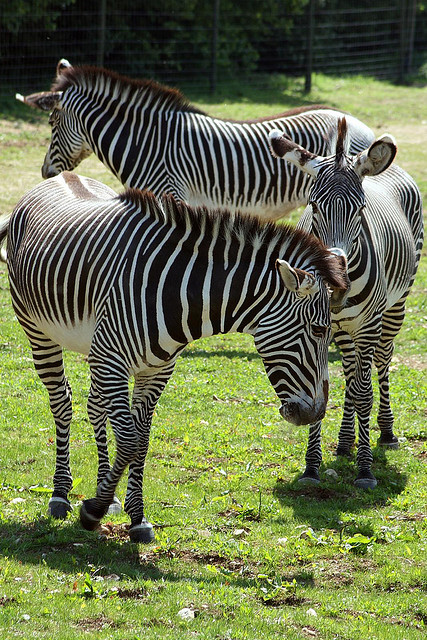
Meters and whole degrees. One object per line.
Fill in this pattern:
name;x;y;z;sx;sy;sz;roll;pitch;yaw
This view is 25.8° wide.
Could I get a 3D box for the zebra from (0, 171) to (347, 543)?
zebra;-0.405;0.268;5.341;2.213;1.982;0.710;11;11;33
